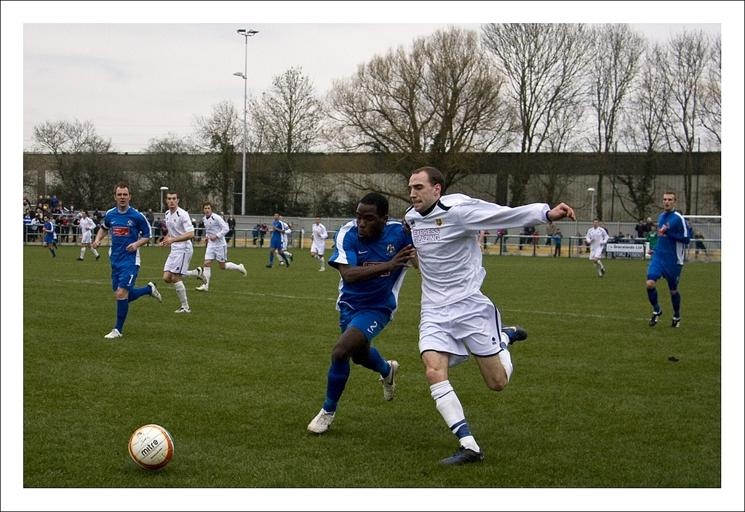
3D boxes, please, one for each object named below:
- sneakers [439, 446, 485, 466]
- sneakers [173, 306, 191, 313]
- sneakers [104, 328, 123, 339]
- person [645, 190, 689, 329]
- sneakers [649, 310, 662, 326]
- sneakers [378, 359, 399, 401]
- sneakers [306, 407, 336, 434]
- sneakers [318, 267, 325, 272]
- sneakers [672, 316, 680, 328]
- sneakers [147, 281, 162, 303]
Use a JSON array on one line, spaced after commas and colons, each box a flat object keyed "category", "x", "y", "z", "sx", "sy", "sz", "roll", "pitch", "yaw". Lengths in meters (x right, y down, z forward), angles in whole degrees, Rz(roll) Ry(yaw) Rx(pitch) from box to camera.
[{"category": "sneakers", "x": 0.990, "y": 2.195, "z": 7.887, "sx": 0.508, "sy": 0.216, "sz": 0.172, "roll": 2, "pitch": -14, "yaw": -6}, {"category": "sneakers", "x": -3.834, "y": 1.063, "z": 14.410, "sx": 0.362, "sy": 0.160, "sz": 0.134, "roll": 2, "pitch": -1, "yaw": 11}, {"category": "sneakers", "x": -4.288, "y": 1.288, "z": 11.919, "sx": 0.116, "sy": 0.150, "sz": 0.323, "roll": 5, "pitch": 0, "yaw": 15}, {"category": "person", "x": 5.679, "y": 0.065, "z": 13.786, "sx": 0.661, "sy": 2.628, "sz": 1.219, "roll": 5, "pitch": 12, "yaw": 23}, {"category": "sneakers", "x": 5.524, "y": 1.219, "z": 14.005, "sx": 0.309, "sy": 0.141, "sz": 0.110, "roll": -49, "pitch": 19, "yaw": -27}, {"category": "sneakers", "x": 0.173, "y": 1.607, "z": 9.251, "sx": 0.193, "sy": 0.537, "sz": 0.274, "roll": 7, "pitch": 8, "yaw": 33}, {"category": "sneakers", "x": -0.590, "y": 1.913, "z": 8.428, "sx": 0.183, "sy": 0.179, "sz": 0.383, "roll": 29, "pitch": 62, "yaw": 25}, {"category": "sneakers", "x": -1.812, "y": 0.497, "z": 26.001, "sx": 0.092, "sy": 0.163, "sz": 0.239, "roll": -3, "pitch": -5, "yaw": 33}, {"category": "sneakers", "x": 5.689, "y": 1.260, "z": 13.558, "sx": 0.146, "sy": 0.223, "sz": 0.221, "roll": -5, "pitch": -14, "yaw": 33}, {"category": "sneakers", "x": -4.717, "y": 0.799, "z": 15.591, "sx": 0.148, "sy": 0.426, "sz": 0.179, "roll": 11, "pitch": 41, "yaw": 46}]
